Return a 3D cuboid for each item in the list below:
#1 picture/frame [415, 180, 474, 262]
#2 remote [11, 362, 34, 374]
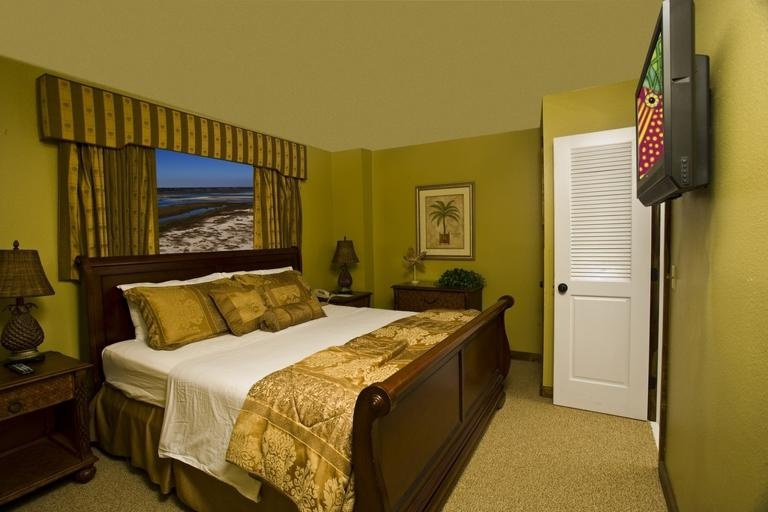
[{"bbox_3d":[0.799,-0.462,6.147,0.997,1.227,0.082,2,6,30],"label":"picture/frame"},{"bbox_3d":[-2.729,0.844,3.589,0.251,0.050,0.115,6,12,41],"label":"remote"}]
